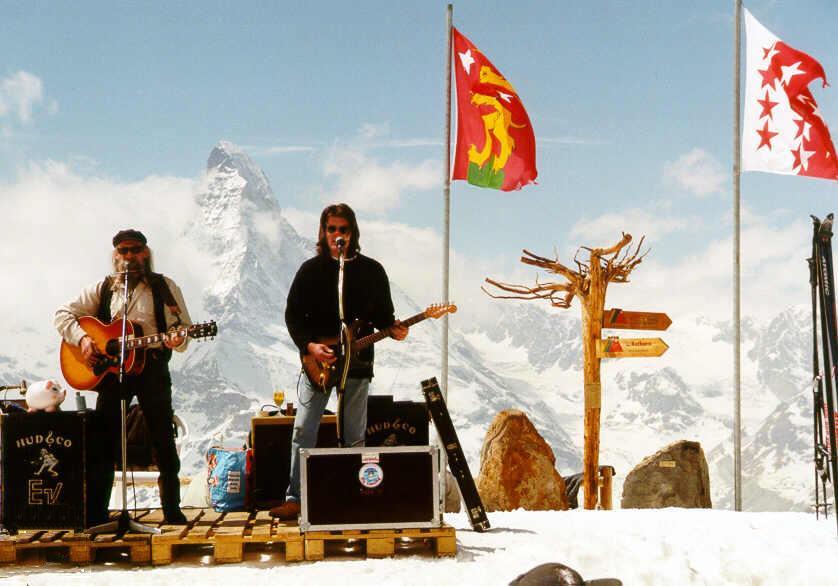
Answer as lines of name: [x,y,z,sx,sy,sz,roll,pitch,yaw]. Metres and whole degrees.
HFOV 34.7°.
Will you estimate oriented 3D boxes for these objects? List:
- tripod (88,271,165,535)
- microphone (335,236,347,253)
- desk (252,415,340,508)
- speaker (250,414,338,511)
tripod: [-3.354,1.168,14.859,0.783,2.979,0.467,-8,-11,31]
microphone: [-0.810,-0.522,14.587,0.154,0.155,0.173,5,27,-13]
desk: [-1.520,1.953,16.013,1.433,1.465,0.875,1,5,0]
speaker: [-1.534,2.013,15.991,0.998,1.126,1.011,2,-7,-13]
